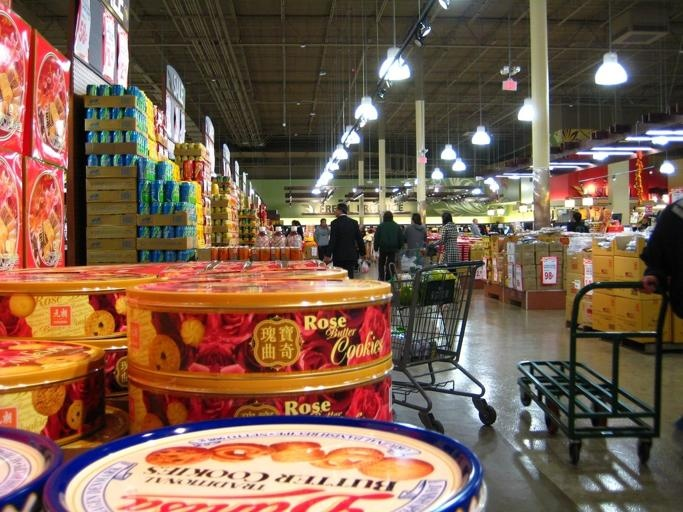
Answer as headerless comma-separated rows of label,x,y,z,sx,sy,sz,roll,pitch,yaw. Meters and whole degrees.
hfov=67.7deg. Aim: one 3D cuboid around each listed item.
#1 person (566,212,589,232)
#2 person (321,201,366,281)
person,5.040,-0.753,10.913,0.356,0.441,1.572,2,4,24
person,0.077,-0.271,9.754,0.685,1.527,1.665,0,3,1
